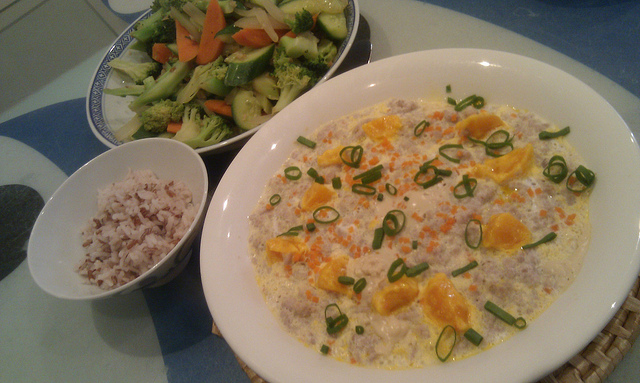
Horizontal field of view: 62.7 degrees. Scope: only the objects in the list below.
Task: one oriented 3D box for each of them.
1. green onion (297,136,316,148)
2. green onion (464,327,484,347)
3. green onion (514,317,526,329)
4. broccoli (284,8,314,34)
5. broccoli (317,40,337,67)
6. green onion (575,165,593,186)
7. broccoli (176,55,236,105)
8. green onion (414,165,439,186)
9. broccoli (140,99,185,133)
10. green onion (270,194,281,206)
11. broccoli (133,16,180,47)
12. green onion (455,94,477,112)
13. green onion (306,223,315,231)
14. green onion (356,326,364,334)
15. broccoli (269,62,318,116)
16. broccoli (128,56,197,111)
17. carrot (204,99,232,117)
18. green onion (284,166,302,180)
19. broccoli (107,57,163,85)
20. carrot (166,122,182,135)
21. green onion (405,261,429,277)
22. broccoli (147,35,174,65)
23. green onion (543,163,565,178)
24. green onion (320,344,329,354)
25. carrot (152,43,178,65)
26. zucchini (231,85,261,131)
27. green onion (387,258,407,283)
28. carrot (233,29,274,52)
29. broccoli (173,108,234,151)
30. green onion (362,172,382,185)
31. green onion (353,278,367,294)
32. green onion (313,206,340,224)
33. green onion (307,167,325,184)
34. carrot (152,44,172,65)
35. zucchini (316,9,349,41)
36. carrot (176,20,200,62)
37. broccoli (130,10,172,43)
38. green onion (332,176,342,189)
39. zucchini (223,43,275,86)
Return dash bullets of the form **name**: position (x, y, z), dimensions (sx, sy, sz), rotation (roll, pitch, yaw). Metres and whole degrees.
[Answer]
- **green onion**: position (-0.099, -0.356, 3.737), dimensions (0.113, 0.027, 0.061), rotation (34, 81, 22)
- **green onion**: position (0.924, 0.868, 3.161), dimensions (0.106, 0.025, 0.067), rotation (40, 87, 7)
- **green onion**: position (1.205, 0.785, 3.158), dimensions (0.064, 0.015, 0.068), rotation (13, 84, 5)
- **broccoli**: position (-0.143, -1.307, 4.101), dimensions (0.188, 0.117, 0.195), rotation (-20, 80, 27)
- **broccoli**: position (0.053, -1.139, 4.175), dimensions (0.149, 0.173, 0.064), rotation (20, 74, -10)
- **green onion**: position (1.641, -0.099, 3.261), dimensions (0.027, 0.078, 0.109), rotation (-15, 90, -40)
- **broccoli**: position (-0.949, -0.872, 4.317), dimensions (0.466, 0.168, 0.285), rotation (-35, 78, 11)
- **green onion**: position (0.690, -0.101, 3.417), dimensions (0.163, 0.049, 0.119), rotation (-43, 82, -2)
- **broccoli**: position (-1.266, -0.598, 4.348), dimensions (0.312, 0.147, 0.236), rotation (-38, 65, -2)
- **green onion**: position (-0.314, 0.057, 3.649), dimensions (0.054, 0.018, 0.077), rotation (34, 55, 17)
- **broccoli**: position (-1.425, -1.387, 4.609), dimensions (0.343, 0.217, 0.271), rotation (20, 85, 6)
- **green onion**: position (0.986, -0.600, 3.567), dimensions (0.110, 0.115, 0.028), rotation (-34, 93, -5)
- **green onion**: position (-0.064, 0.233, 3.497), dimensions (0.051, 0.026, 0.050), rotation (3, 83, 4)
- **green onion**: position (0.246, 0.861, 3.275), dimensions (0.040, 0.012, 0.042), rotation (-34, 91, 3)
- **broccoli**: position (-0.208, -0.812, 4.098), dimensions (0.383, 0.101, 0.385), rotation (-5, 83, 3)
- **broccoli**: position (-1.316, -0.897, 4.430), dimensions (0.151, 0.123, 0.646), rotation (45, 77, -5)
- **carrot**: position (-0.819, -0.689, 4.253), dimensions (0.228, 0.054, 0.109), rotation (17, 60, 0)
- **green onion**: position (-0.190, -0.130, 3.682), dimensions (0.121, 0.039, 0.101), rotation (-12, 83, 2)
- **broccoli**: position (-1.616, -1.072, 4.653), dimensions (0.410, 0.366, 0.258), rotation (-1, 88, 2)
- **carrot**: position (-1.203, -0.528, 4.297), dimensions (0.103, 0.037, 0.096), rotation (13, 75, 11)
- **green onion**: position (0.603, 0.480, 3.268), dimensions (0.139, 0.033, 0.070), rotation (-24, 100, 6)
- **broccoli**: position (-1.433, -1.248, 4.700), dimensions (0.245, 0.148, 0.240), rotation (-4, 80, 11)
- **green onion**: position (1.479, -0.135, 3.323), dimensions (0.121, 0.050, 0.093), rotation (2, 83, 4)
- **green onion**: position (0.030, 0.981, 3.289), dimensions (0.047, 0.014, 0.046), rotation (4, 84, 4)
- **carrot**: position (-1.374, -1.201, 4.582), dimensions (0.217, 0.076, 0.161), rotation (17, 107, -34)
- **zucchini**: position (-0.590, -0.655, 4.146), dimensions (0.327, 0.136, 0.297), rotation (-14, 108, -37)
- **green onion**: position (0.478, 0.492, 3.288), dimensions (0.095, 0.031, 0.154), rotation (40, 87, 7)
- **carrot**: position (-0.523, -1.221, 4.170), dimensions (0.292, 0.115, 0.163), rotation (23, 85, 6)
- **broccoli**: position (-0.911, -0.494, 4.247), dimensions (0.441, 0.203, 0.321), rotation (-40, 61, -20)
- **green onion**: position (0.341, -0.090, 3.483), dimensions (0.163, 0.054, 0.051), rotation (-24, 89, 9)
- **green onion**: position (0.249, 0.585, 3.302), dimensions (0.095, 0.025, 0.062), rotation (-40, 75, -1)
- **green onion**: position (0.039, 0.152, 3.504), dimensions (0.178, 0.048, 0.114), rotation (0, 83, 4)
- **green onion**: position (-0.028, -0.106, 3.618), dimensions (0.145, 0.044, 0.063), rotation (41, 88, 7)
- **carrot**: position (-1.394, -1.213, 4.586), dimensions (0.143, 0.099, 0.144), rotation (32, 86, 7)
- **zucchini**: position (0.093, -1.298, 4.180), dimensions (0.248, 0.058, 0.235), rotation (-30, 77, -30)
- **carrot**: position (-1.131, -1.236, 4.482), dimensions (0.172, 0.308, 0.067), rotation (23, 111, -30)
- **broccoli**: position (-1.480, -1.419, 4.601), dimensions (0.206, 0.118, 0.375), rotation (43, 78, 9)
- **green onion**: position (0.112, -0.059, 3.567), dimensions (0.083, 0.022, 0.075), rotation (6, 92, -4)
- **zucchini**: position (-0.539, -0.979, 4.137), dimensions (0.471, 0.144, 0.204), rotation (-28, 82, 0)
